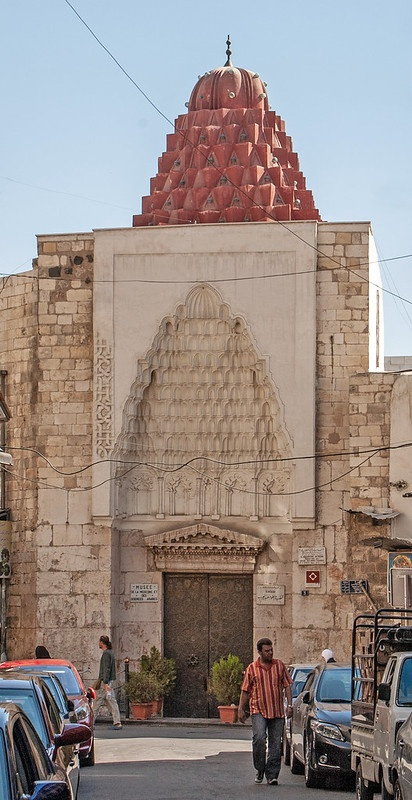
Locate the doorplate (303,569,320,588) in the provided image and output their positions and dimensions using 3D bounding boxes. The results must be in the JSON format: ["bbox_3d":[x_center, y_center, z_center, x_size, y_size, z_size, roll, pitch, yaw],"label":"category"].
[{"bbox_3d":[1.724,2.952,29.618,0.210,0.355,0.049,-2,-30,9],"label":"doorplate"}]

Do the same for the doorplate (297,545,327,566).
[{"bbox_3d":[1.742,2.601,29.768,0.468,0.303,0.144,-1,-7,5],"label":"doorplate"}]

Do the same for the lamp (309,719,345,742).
[{"bbox_3d":[1.284,3.505,18.941,0.226,0.115,0.183,26,-14,-27],"label":"lamp"}]

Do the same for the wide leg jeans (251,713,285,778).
[{"bbox_3d":[0.639,3.688,19.039,0.260,0.817,0.327,9,-40,-6],"label":"wide leg jeans"}]

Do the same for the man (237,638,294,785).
[{"bbox_3d":[0.613,3.329,19.064,0.402,1.590,0.394,-2,-25,4],"label":"man"}]

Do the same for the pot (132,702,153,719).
[{"bbox_3d":[-1.055,4.996,28.804,0.345,0.251,0.452,0,-10,-4],"label":"pot"}]

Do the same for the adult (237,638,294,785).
[{"bbox_3d":[0.614,3.342,19.071,0.429,1.678,0.417,-4,-30,7],"label":"adult"}]

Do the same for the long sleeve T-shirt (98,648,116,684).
[{"bbox_3d":[-1.456,3.913,26.139,0.265,0.772,0.480,1,-9,1],"label":"long sleeve T-shirt"}]

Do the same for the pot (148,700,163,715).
[{"bbox_3d":[-0.855,5.085,29.602,0.199,0.303,0.295,-1,-2,14],"label":"pot"}]

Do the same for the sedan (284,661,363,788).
[{"bbox_3d":[1.275,3.553,19.447,0.793,1.277,2.419,0,-15,-4],"label":"sedan"}]

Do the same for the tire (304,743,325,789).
[{"bbox_3d":[1.141,3.899,19.087,0.184,0.454,0.381,-1,-8,4],"label":"tire"}]

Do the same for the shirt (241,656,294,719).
[{"bbox_3d":[0.637,3.036,19.200,0.401,0.277,0.727,-2,-59,6],"label":"shirt"}]
